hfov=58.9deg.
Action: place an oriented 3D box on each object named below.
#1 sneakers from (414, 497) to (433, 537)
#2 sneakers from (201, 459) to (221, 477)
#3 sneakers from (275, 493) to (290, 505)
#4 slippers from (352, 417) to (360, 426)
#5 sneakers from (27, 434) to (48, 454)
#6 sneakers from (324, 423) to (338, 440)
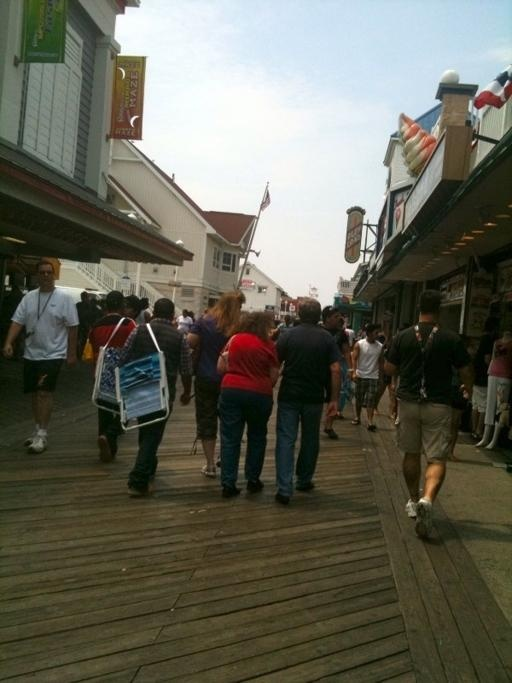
[{"bbox_3d":[1.208,1.309,3.318,0.120,0.308,0.137,0,5,11],"label":"sneakers"},{"bbox_3d":[-0.472,1.358,4.870,0.114,0.125,0.306,1,-2,-4],"label":"sneakers"},{"bbox_3d":[0.226,1.394,4.031,0.144,0.080,0.126,2,-5,17],"label":"sneakers"},{"bbox_3d":[1.932,1.538,8.851,0.199,0.185,0.092,5,-7,24],"label":"slippers"},{"bbox_3d":[-2.475,1.149,5.129,0.117,0.153,0.338,2,-8,2],"label":"sneakers"},{"bbox_3d":[1.213,1.456,7.386,0.128,0.124,0.319,8,7,0],"label":"sneakers"}]
